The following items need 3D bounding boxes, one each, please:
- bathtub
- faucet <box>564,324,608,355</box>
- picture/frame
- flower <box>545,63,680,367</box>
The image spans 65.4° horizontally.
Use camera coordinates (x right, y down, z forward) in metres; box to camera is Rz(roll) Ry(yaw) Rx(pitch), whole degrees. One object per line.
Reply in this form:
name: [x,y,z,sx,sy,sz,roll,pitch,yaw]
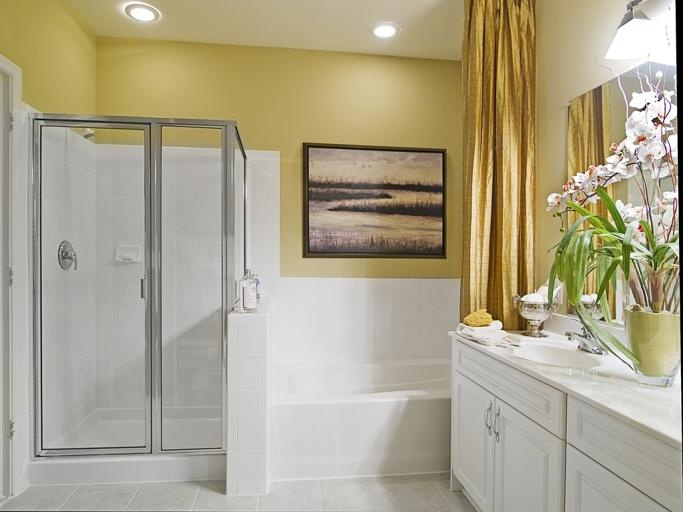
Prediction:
bathtub: [0.135,1.158,3.850,1.224,0.517,0.846,-1,5,-2]
faucet: [1.288,0.451,2.799,0.140,0.235,0.432,6,-3,25]
picture/frame: [0.200,-0.437,4.275,0.878,0.709,0.039,0,0,-4]
flower: [1.369,-0.190,2.605,0.649,1.466,0.693,-4,5,-39]
